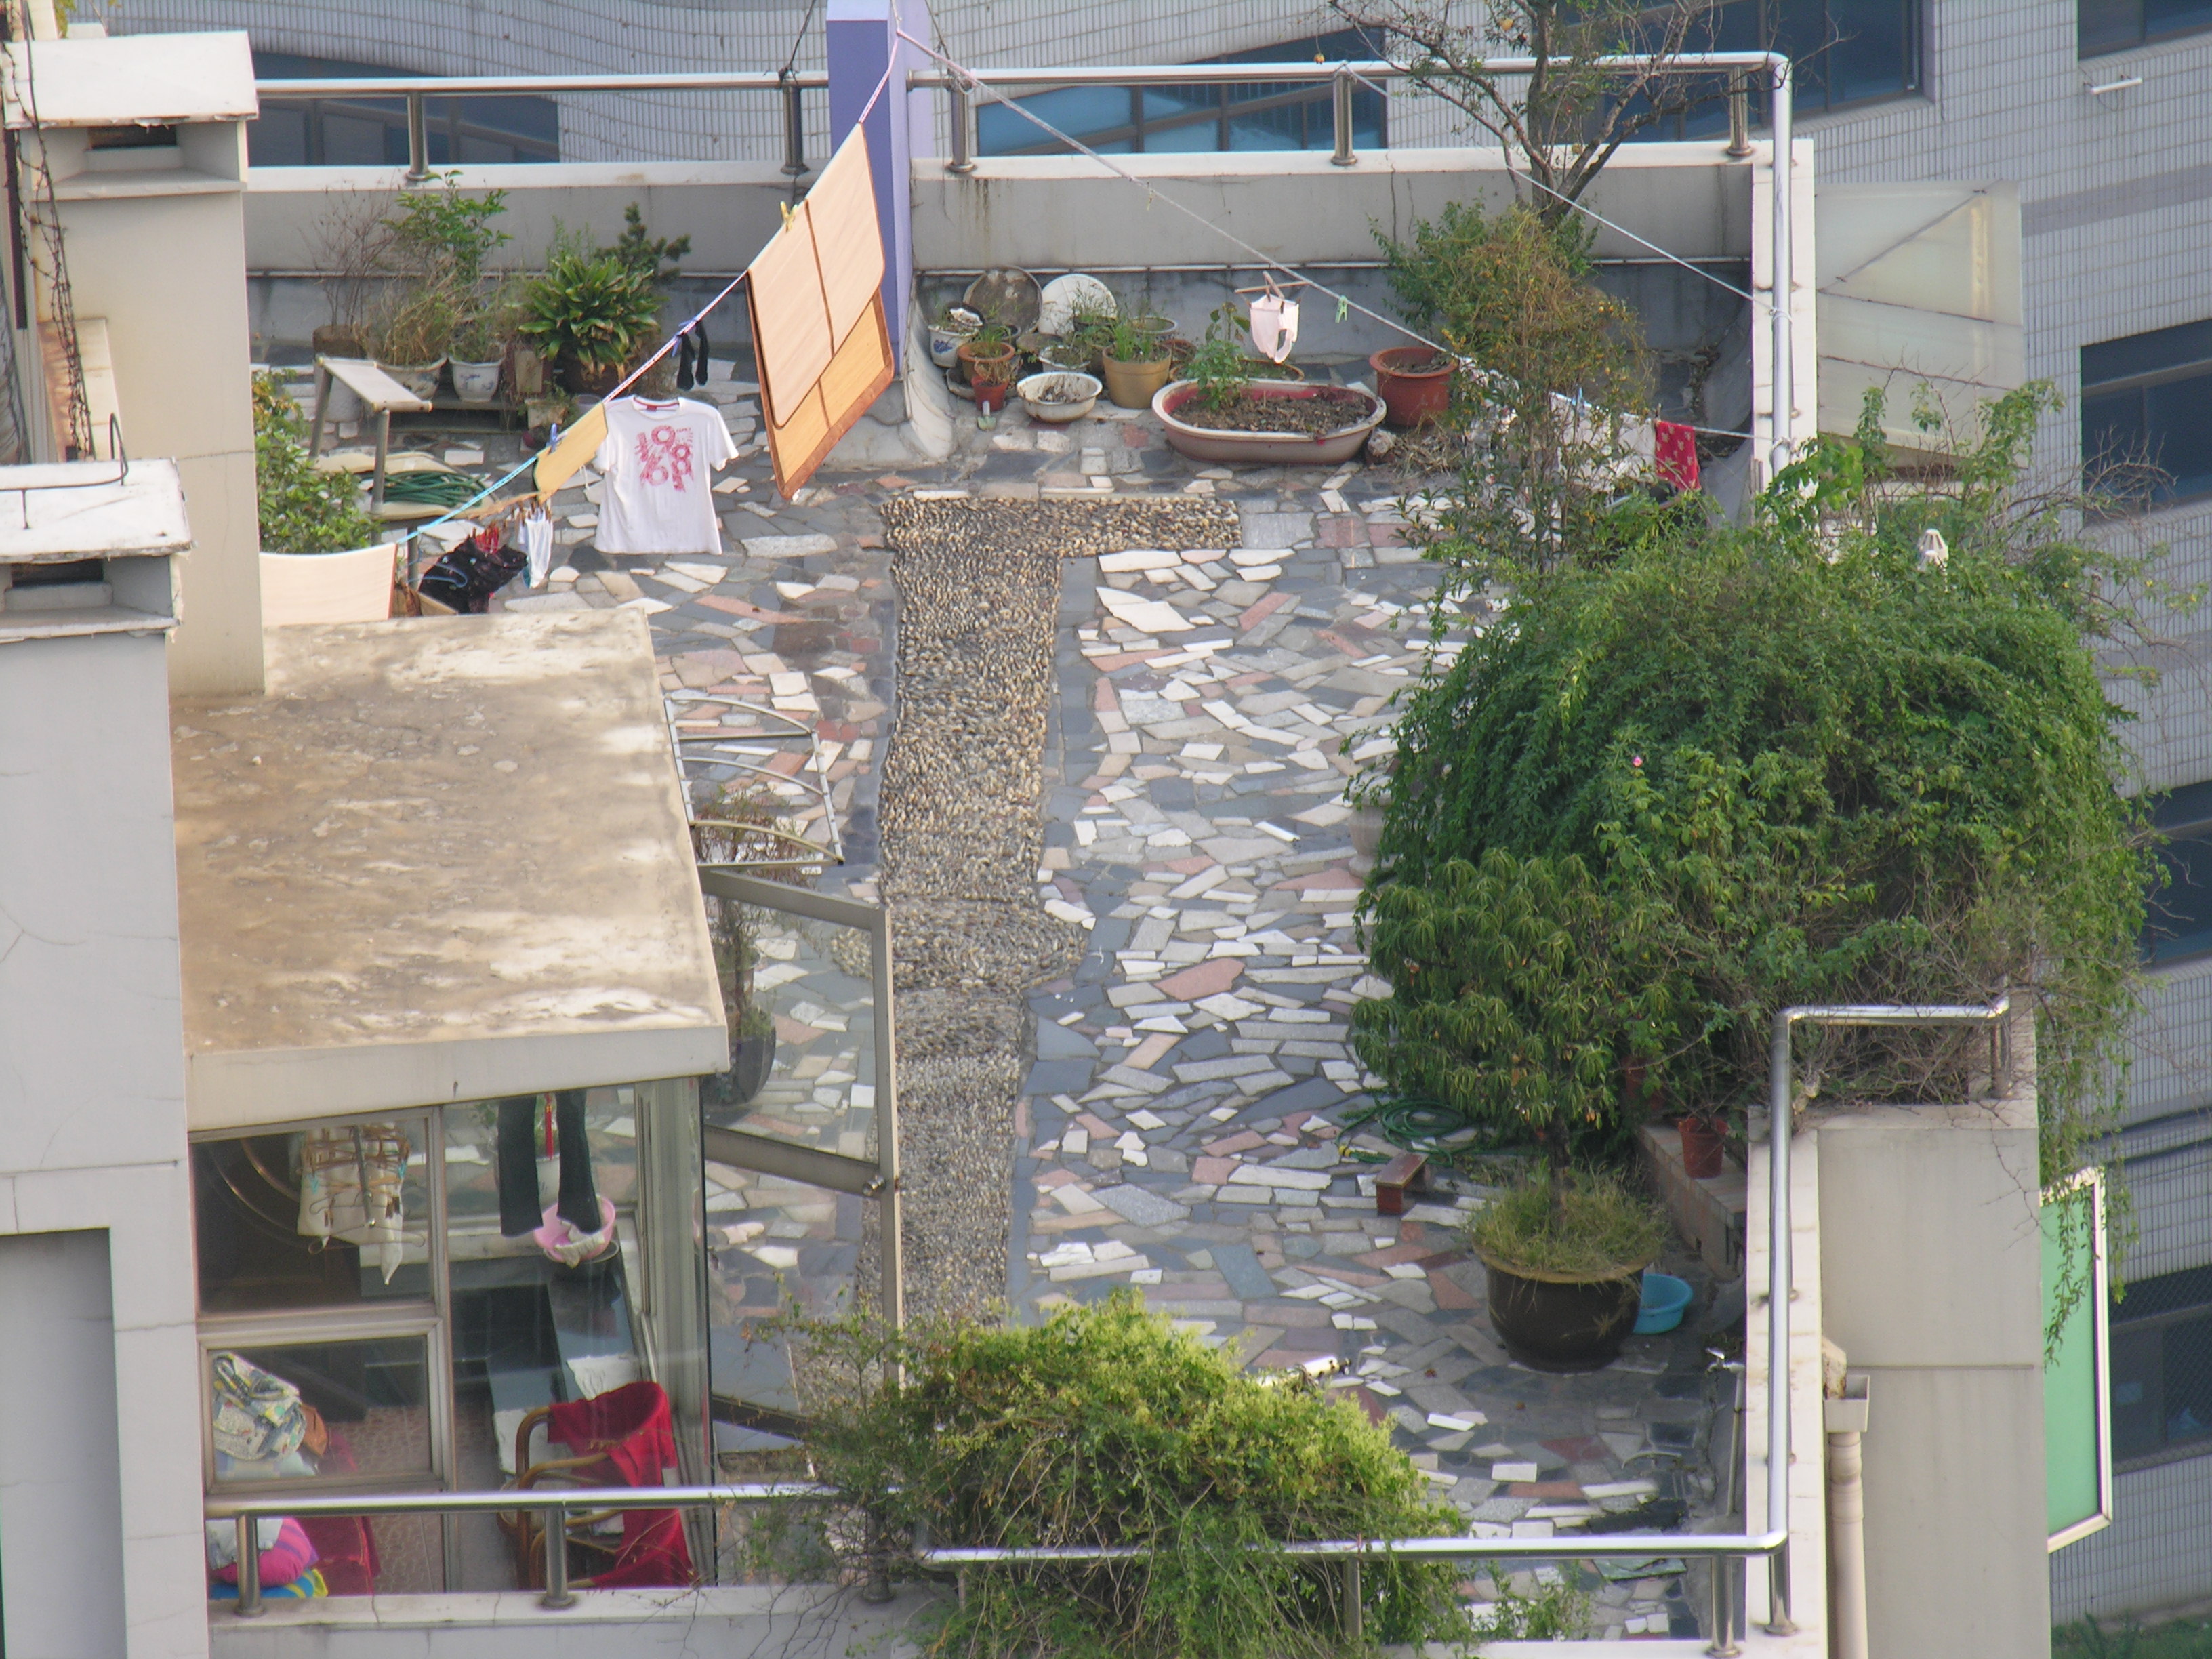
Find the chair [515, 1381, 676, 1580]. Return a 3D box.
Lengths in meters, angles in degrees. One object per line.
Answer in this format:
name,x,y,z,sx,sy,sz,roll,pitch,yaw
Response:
chair,-3.097,4.032,45.321,1.041,1.095,0.859,-3,11,-17

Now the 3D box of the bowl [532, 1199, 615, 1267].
bowl,-3.222,2.445,45.292,0.624,0.369,0.067,-11,13,-40

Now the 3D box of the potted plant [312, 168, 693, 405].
potted plant,-4.664,-4.114,57.550,2.193,1.433,2.007,1,22,14

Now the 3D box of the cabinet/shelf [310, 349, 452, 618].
cabinet/shelf,-5.412,-2.704,55.042,0.917,1.587,5.060,-3,10,-6

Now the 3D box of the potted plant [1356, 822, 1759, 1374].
potted plant,2.874,1.432,47.848,2.013,3.624,1.905,-2,16,13

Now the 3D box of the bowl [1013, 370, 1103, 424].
bowl,-0.367,-3.383,56.949,0.445,0.168,0.446,-2,36,1

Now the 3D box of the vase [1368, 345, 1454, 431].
vase,2.352,-3.433,56.785,0.581,0.621,0.811,-2,10,0

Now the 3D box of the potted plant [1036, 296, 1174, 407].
potted plant,0.138,-3.699,57.407,0.718,0.373,0.775,0,29,1

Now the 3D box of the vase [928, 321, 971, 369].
vase,-1.218,-3.818,57.319,0.296,0.229,0.287,6,4,26
